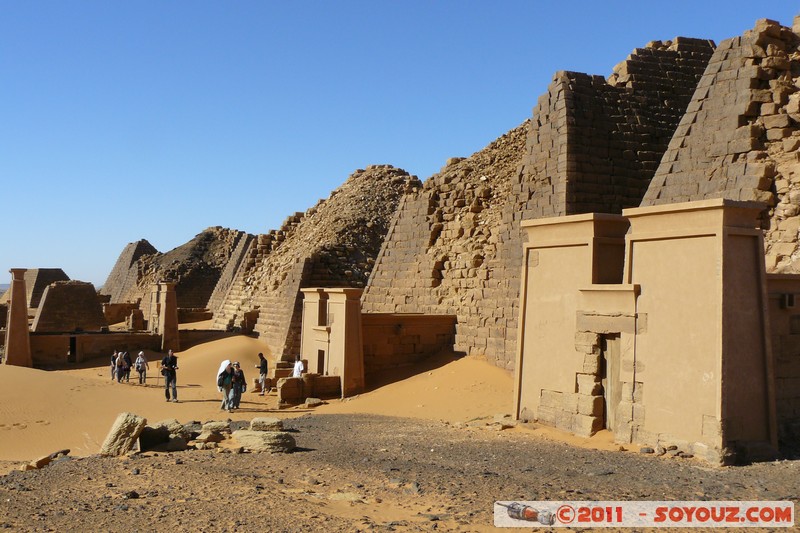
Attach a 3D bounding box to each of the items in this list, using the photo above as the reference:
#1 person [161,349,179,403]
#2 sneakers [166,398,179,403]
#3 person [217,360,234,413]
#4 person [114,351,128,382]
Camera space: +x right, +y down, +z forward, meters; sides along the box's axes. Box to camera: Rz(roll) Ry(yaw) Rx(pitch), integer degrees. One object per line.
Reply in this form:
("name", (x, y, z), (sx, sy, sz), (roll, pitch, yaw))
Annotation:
("person", (-6.089, 2.879, 19.618), (0.441, 1.296, 1.614), (5, -10, -17))
("sneakers", (-5.798, 3.432, 18.915), (0.310, 0.116, 0.095), (-21, -19, 37))
("person", (-4.277, 2.891, 18.044), (0.390, 1.202, 0.608), (9, -12, -35))
("person", (-8.206, 2.940, 21.806), (0.410, 0.874, 0.791), (6, -10, -19))
